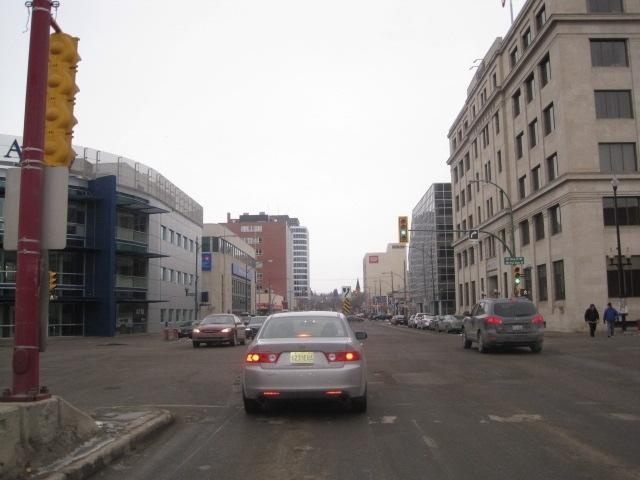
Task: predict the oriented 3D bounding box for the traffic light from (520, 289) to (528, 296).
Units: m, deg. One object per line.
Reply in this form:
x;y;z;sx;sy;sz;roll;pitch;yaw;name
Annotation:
14.827;3.806;40.631;0.332;0.554;0.672;-3;1;14;traffic light

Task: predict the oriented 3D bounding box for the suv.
6.938;3.261;21.334;2.003;2.131;2.807;-1;-11;-7;suv

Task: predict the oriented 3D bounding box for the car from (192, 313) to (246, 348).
-4.837;4.421;27.654;1.201;1.039;2.986;-2;-13;4;car

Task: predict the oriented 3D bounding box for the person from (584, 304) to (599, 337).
14.077;4.137;28.888;0.541;1.719;1.730;-6;-11;25;person

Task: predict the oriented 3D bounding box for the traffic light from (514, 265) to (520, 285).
13.032;2.299;36.925;0.360;1.198;0.946;-4;-10;18;traffic light

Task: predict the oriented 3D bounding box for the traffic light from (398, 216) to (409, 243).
5.456;-0.663;36.574;0.484;1.763;0.898;-5;-10;21;traffic light

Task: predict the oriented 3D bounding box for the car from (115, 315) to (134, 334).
-16.912;7.265;47.997;1.344;1.258;2.095;0;-11;-11;car
